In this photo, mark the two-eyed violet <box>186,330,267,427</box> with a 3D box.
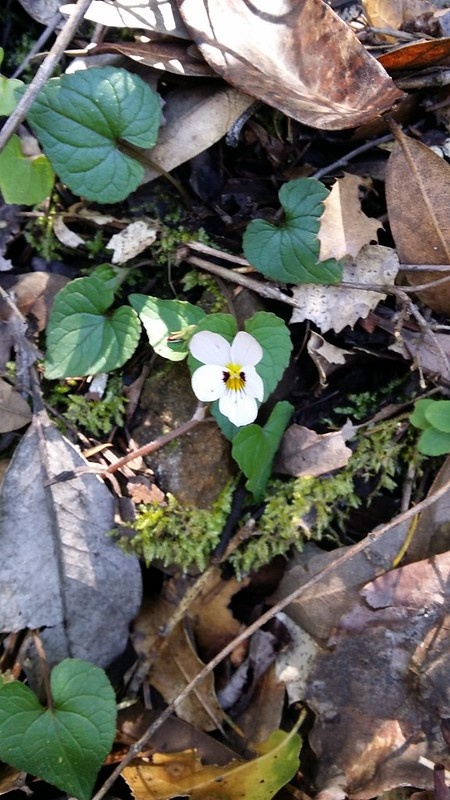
[{"bbox_3d":[0.016,-0.090,2.452,0.258,0.275,0.254,-8,49,15],"label":"two-eyed violet"}]
